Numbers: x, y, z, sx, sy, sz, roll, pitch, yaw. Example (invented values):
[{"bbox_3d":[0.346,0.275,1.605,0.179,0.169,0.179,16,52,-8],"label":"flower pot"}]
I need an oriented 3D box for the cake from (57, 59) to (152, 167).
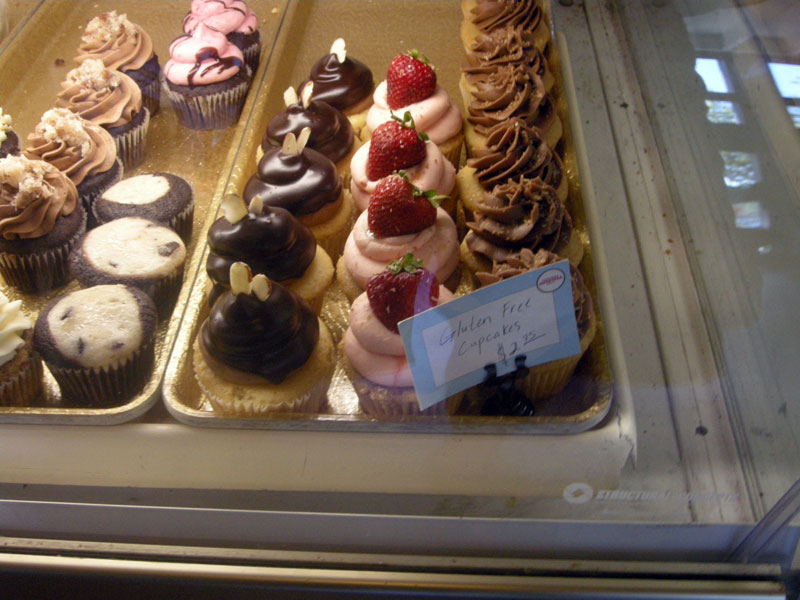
[{"bbox_3d":[-1.135,-0.698,2.991,0.273,0.322,0.291,-37,59,-21],"label":"cake"}]

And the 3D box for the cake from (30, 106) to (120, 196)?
[{"bbox_3d":[-1.158,-0.514,2.790,0.253,0.233,0.251,16,60,11],"label":"cake"}]

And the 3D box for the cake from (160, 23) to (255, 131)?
[{"bbox_3d":[-0.826,-0.950,3.349,0.353,0.386,0.357,-7,42,-13],"label":"cake"}]

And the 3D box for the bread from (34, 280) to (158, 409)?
[{"bbox_3d":[-0.910,0.129,2.441,0.351,0.247,0.351,-7,50,-4],"label":"bread"}]

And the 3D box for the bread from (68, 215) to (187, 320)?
[{"bbox_3d":[-0.911,-0.155,2.648,0.325,0.226,0.323,-22,51,-15],"label":"bread"}]
